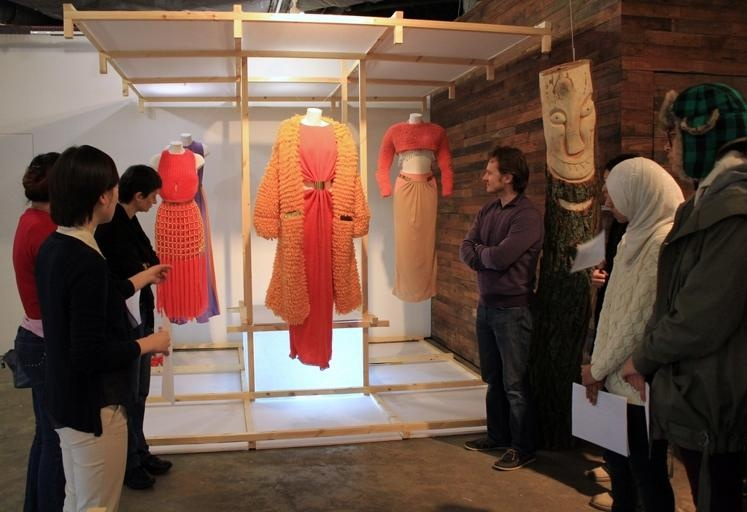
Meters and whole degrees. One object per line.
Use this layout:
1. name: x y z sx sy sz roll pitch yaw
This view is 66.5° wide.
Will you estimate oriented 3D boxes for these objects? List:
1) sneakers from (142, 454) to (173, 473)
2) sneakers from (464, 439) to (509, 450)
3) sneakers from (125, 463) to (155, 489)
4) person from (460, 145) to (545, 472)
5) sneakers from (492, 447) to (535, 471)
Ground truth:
1. sneakers: -1.469 1.407 3.896 0.196 0.080 0.094 6 10 14
2. sneakers: 0.855 1.400 4.279 0.330 0.117 0.110 2 -3 0
3. sneakers: -1.544 1.438 3.739 0.216 0.088 0.098 1 0 28
4. person: 0.935 0.344 4.046 0.505 2.192 0.701 -4 13 -18
5. sneakers: 0.970 1.406 3.978 0.303 0.106 0.119 0 -5 -27
